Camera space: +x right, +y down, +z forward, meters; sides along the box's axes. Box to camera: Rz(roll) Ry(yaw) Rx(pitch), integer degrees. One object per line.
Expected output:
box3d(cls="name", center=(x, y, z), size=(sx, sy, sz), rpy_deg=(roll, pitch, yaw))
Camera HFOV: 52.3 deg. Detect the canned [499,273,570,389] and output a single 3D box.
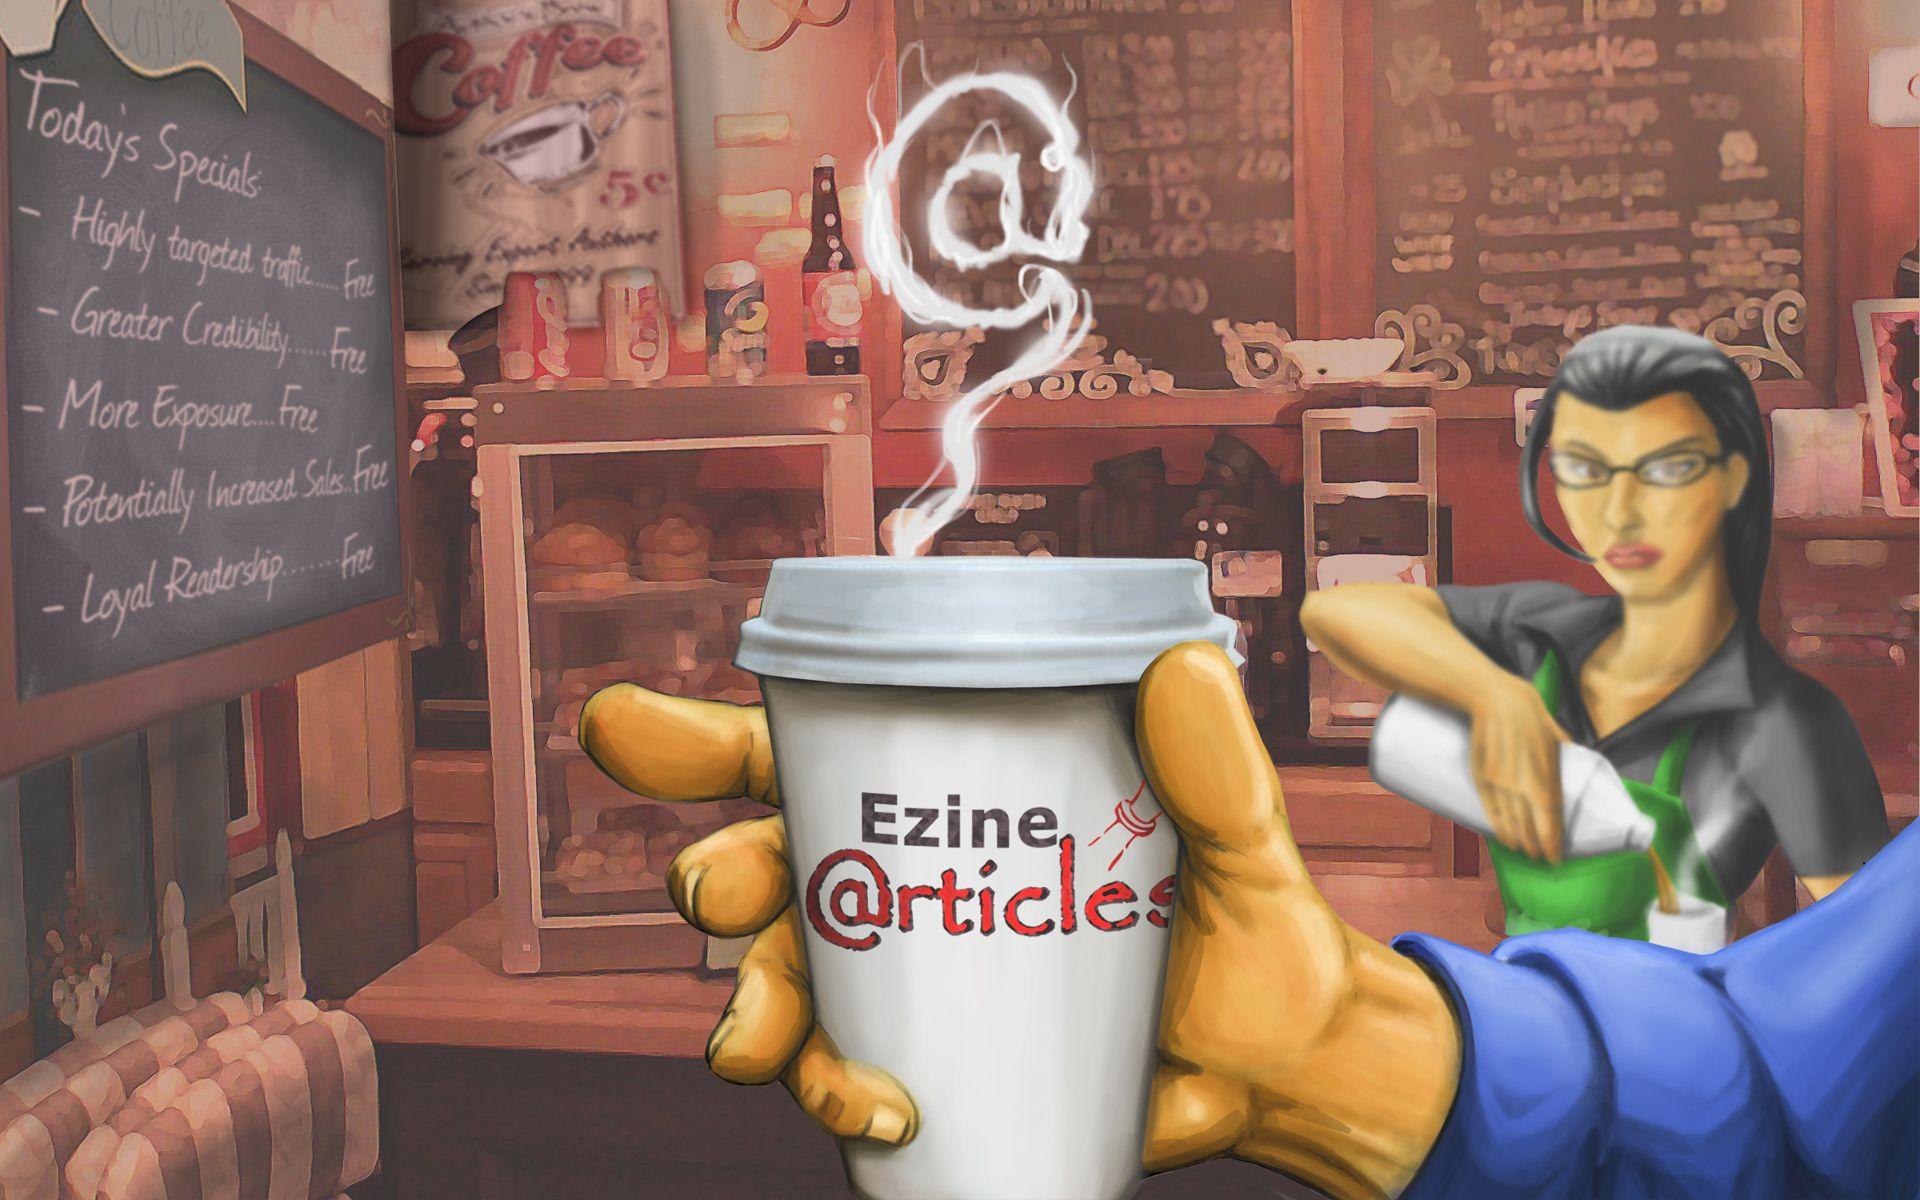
box3d(cls="canned", center=(-1.030, -0.655, 4.715), size=(0.169, 0.259, 0.082), rpy_deg=(-1, 3, -10))
